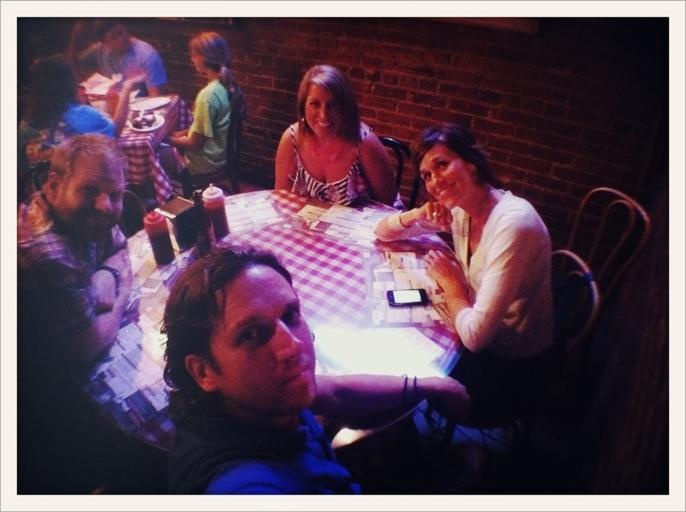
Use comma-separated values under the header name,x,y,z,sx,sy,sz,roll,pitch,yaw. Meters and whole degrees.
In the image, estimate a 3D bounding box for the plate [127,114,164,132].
name,x,y,z,sx,sy,sz,roll,pitch,yaw
plate,-1.126,-0.761,3.065,0.145,0.026,0.146,2,52,-9

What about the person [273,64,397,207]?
name,x,y,z,sx,sy,sz,roll,pitch,yaw
person,-0.048,-0.562,2.772,0.699,0.812,0.404,1,35,1

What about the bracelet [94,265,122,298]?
name,x,y,z,sx,sy,sz,roll,pitch,yaw
bracelet,-0.926,0.102,2.119,0.029,0.105,0.099,-23,58,-31

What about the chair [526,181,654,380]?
name,x,y,z,sx,sy,sz,roll,pitch,yaw
chair,1.070,0.114,2.272,0.382,0.739,0.367,-19,64,2

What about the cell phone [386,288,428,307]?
name,x,y,z,sx,sy,sz,roll,pitch,yaw
cell phone,0.247,0.150,2.044,0.125,0.017,0.073,1,58,2

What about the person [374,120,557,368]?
name,x,y,z,sx,sy,sz,roll,pitch,yaw
person,0.526,-0.065,2.321,0.563,0.982,0.728,-15,16,-35
